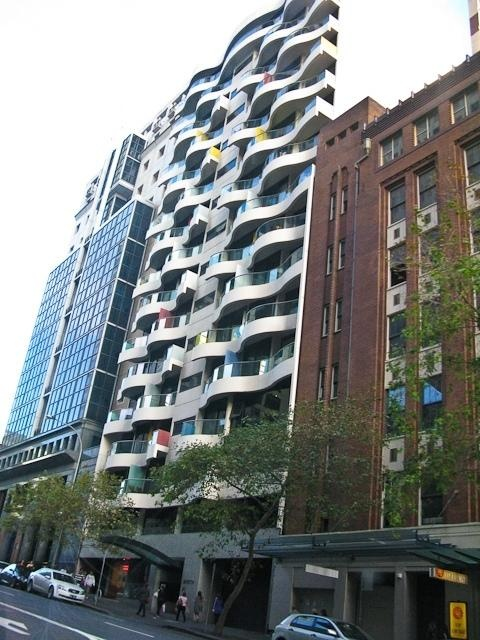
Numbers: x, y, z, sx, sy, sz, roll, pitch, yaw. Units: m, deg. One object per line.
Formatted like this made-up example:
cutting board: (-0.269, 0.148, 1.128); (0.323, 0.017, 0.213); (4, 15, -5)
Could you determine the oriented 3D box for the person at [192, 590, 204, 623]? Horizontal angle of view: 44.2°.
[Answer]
person: (-1.918, 13.237, 27.410); (0.469, 1.303, 1.335); (9, -27, 0)
